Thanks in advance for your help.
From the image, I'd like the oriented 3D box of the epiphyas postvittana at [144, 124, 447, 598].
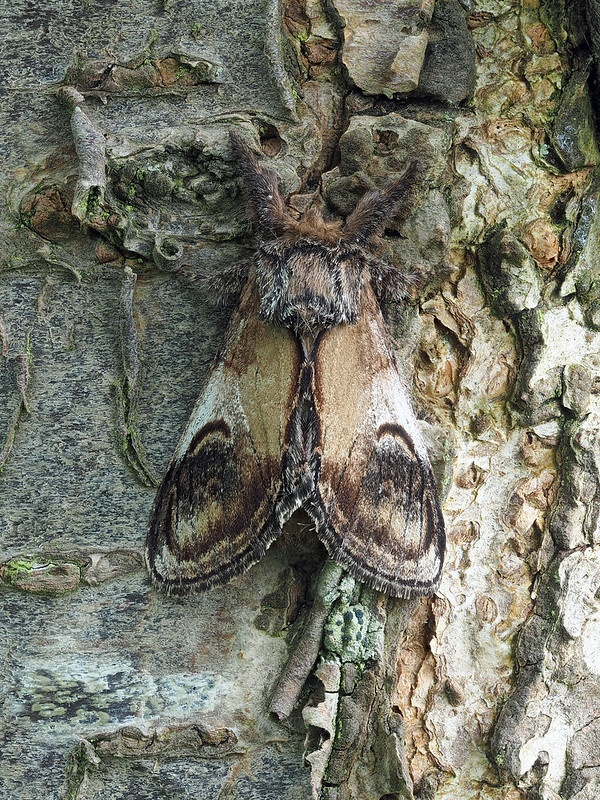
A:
[{"bbox_3d":[0.020,-0.099,3.837,0.959,1.310,0.761,2,-39,-2],"label":"epiphyas postvittana"}]
